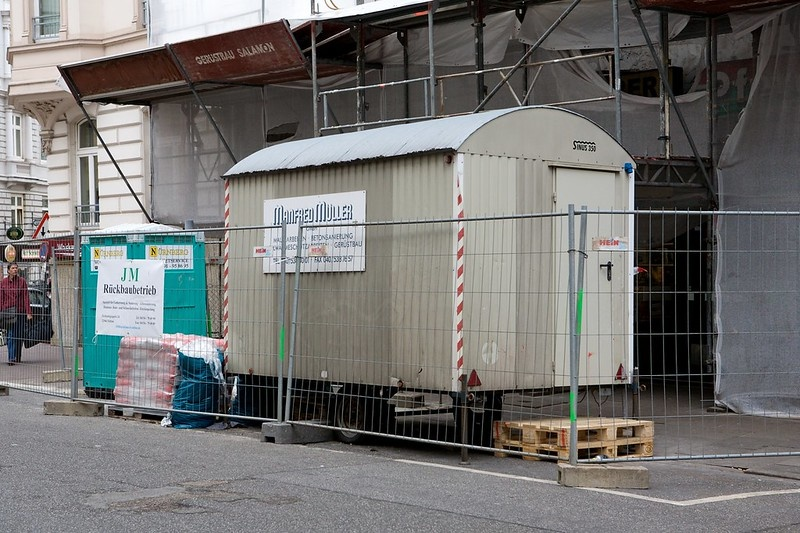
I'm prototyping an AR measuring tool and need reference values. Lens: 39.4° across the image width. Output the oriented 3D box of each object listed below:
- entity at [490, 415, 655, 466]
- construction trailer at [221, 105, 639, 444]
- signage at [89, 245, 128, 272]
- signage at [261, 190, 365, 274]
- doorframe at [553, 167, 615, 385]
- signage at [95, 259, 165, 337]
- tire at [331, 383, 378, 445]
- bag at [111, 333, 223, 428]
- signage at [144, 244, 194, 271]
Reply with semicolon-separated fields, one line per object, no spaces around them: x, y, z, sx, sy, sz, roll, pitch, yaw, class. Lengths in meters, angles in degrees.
2.252;2.248;14.515;2.029;0.588;0.883;0;-5;7;entity
0.403;0.001;16.321;4.242;5.441;6.596;0;-2;-38;construction trailer
-4.517;-0.170;17.485;0.669;0.531;0.375;-2;-7;23;signage
-1.276;-0.453;15.872;1.521;1.151;0.016;-3;-13;11;signage
2.498;0.082;15.028;0.909;3.032;1.768;-1;-5;16;doorframe
-4.079;0.467;17.129;1.107;1.204;0.080;0;-2;32;signage
-0.627;2.028;15.553;0.259;0.844;0.784;5;0;-42;tire
-3.462;1.614;16.931;1.762;1.159;0.511;-2;-6;24;bag
-3.462;-0.165;17.021;0.639;0.449;0.365;0;-9;-7;signage
